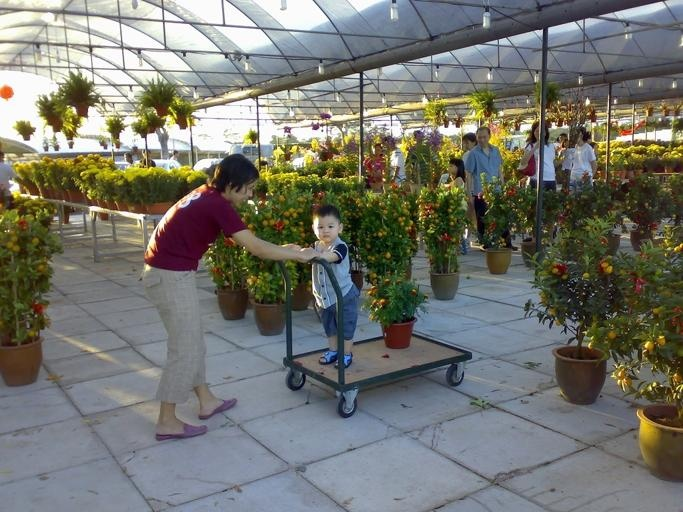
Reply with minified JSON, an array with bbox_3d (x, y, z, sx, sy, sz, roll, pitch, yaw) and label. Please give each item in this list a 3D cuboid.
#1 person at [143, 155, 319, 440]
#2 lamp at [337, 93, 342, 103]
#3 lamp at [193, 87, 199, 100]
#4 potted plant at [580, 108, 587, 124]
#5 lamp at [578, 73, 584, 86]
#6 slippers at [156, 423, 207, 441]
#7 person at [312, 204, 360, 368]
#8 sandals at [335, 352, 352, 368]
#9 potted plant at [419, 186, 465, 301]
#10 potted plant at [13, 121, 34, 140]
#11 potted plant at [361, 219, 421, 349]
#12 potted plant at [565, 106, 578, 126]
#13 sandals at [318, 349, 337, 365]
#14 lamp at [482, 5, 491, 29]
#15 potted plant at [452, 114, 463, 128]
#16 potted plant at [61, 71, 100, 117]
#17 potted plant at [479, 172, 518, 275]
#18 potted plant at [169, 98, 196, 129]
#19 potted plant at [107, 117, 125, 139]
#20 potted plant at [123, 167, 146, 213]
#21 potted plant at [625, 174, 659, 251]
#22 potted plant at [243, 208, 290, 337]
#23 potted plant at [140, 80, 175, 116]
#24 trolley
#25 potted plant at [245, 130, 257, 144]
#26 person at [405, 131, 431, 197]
[{"bbox_3d":[-0.870,0.265,3.475,0.934,1.858,0.391,-4,12,-9],"label":"person"},{"bbox_3d":[-0.158,-8.118,26.290,0.198,0.384,0.194,-5,4,-45],"label":"lamp"},{"bbox_3d":[-5.246,-5.935,18.586,0.120,0.484,2.419,-5,14,-16],"label":"lamp"},{"bbox_3d":[7.225,-4.167,15.357,0.205,0.468,1.894,4,14,24],"label":"potted plant"},{"bbox_3d":[6.754,-5.004,14.525,0.148,0.322,0.456,4,14,24],"label":"lamp"},{"bbox_3d":[-1.085,1.175,3.463,0.295,0.097,0.120,-4,-1,-17],"label":"slippers"},{"bbox_3d":[-0.046,0.230,3.868,0.345,1.225,0.534,-2,12,0],"label":"person"},{"bbox_3d":[0.009,0.787,3.861,0.070,0.080,0.195,-1,-4,13],"label":"sandals"},{"bbox_3d":[1.246,-0.078,6.506,0.546,1.366,0.516,3,20,42],"label":"potted plant"},{"bbox_3d":[-8.895,-3.541,14.448,0.712,0.568,0.501,11,18,43],"label":"potted plant"},{"bbox_3d":[0.349,0.333,4.382,0.562,0.855,0.586,-17,19,-37],"label":"potted plant"},{"bbox_3d":[6.866,-4.161,15.253,0.321,0.614,1.027,3,14,18],"label":"potted plant"},{"bbox_3d":[-0.104,0.776,3.983,0.136,0.062,0.078,0,1,-27],"label":"sandals"},{"bbox_3d":[2.441,-4.028,8.623,0.142,0.389,0.604,2,13,15],"label":"lamp"},{"bbox_3d":[4.420,-5.155,19.565,0.296,0.433,1.108,0,13,7],"label":"potted plant"},{"bbox_3d":[-4.491,-2.798,8.824,0.608,0.747,0.460,-8,14,-26],"label":"potted plant"},{"bbox_3d":[2.306,-0.456,7.630,0.505,1.305,0.937,2,13,15],"label":"potted plant"},{"bbox_3d":[-3.056,-2.709,9.756,0.545,0.629,0.598,7,15,30],"label":"potted plant"},{"bbox_3d":[-6.149,-3.527,14.001,0.458,0.592,0.713,-7,14,-24],"label":"potted plant"},{"bbox_3d":[-3.074,-0.980,7.767,0.274,0.652,0.559,-8,14,-28],"label":"potted plant"},{"bbox_3d":[4.943,-0.744,8.527,0.626,1.181,0.582,-12,-8,36],"label":"potted plant"},{"bbox_3d":[-0.601,0.190,5.280,0.454,1.322,0.417,1,-16,16],"label":"potted plant"},{"bbox_3d":[-3.292,-2.885,9.333,0.629,0.721,0.634,14,20,38],"label":"potted plant"},{"bbox_3d":[0.277,0.473,3.991,1.352,1.204,0.787,-6,9,-32],"label":"trolley"},{"bbox_3d":[-4.272,-5.681,24.390,0.715,0.795,0.719,1,11,7],"label":"potted plant"},{"bbox_3d":[2.141,-2.657,14.232,0.672,1.602,1.343,0,13,6],"label":"person"}]
